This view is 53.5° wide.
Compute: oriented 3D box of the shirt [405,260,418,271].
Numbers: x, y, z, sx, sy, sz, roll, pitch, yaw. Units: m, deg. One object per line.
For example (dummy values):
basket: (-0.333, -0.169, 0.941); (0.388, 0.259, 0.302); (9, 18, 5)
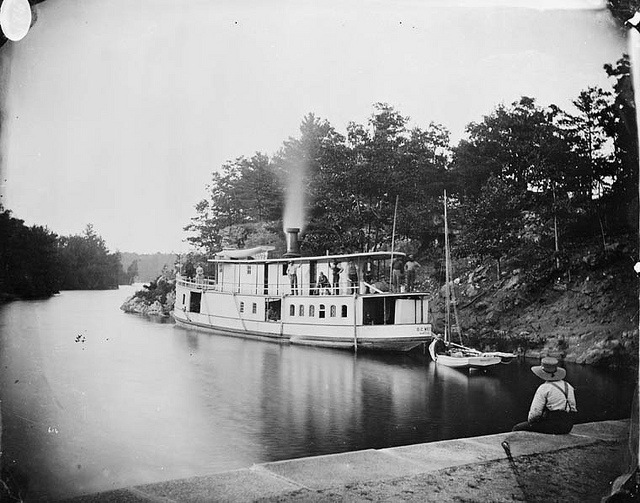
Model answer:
shirt: (1.535, 0.244, 10.692); (0.184, 0.147, 0.120); (7, 3, 27)

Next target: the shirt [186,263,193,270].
shirt: (-2.029, 0.233, 9.817); (0.100, 0.112, 0.263); (5, 2, -12)

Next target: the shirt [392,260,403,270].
shirt: (1.341, 0.231, 11.076); (0.196, 0.226, 0.120); (5, 21, 15)

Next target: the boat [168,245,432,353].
boat: (-0.643, 0.949, 12.641); (5.387, 2.389, 1.564); (-1, -11, 24)

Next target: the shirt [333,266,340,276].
shirt: (0.275, 0.363, 11.550); (0.117, 0.152, 0.120); (4, 5, -16)

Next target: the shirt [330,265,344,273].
shirt: (0.298, 0.307, 11.318); (0.121, 0.065, 0.174); (9, -22, 20)

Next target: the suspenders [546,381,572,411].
suspenders: (2.561, 1.516, 6.731); (0.178, 0.350, 0.248); (-6, 11, 3)

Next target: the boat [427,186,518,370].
boat: (2.211, 0.613, 9.905); (0.744, 2.368, 1.333); (3, 3, -32)

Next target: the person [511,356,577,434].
person: (2.496, 1.686, 7.006); (0.491, 1.105, 0.684); (-3, 2, -19)

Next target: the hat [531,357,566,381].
hat: (2.390, 1.234, 6.661); (0.344, 0.232, 0.259); (7, 2, 14)

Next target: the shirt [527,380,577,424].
shirt: (2.468, 1.565, 6.748); (0.514, 0.526, 0.328); (-1, 2, 15)
